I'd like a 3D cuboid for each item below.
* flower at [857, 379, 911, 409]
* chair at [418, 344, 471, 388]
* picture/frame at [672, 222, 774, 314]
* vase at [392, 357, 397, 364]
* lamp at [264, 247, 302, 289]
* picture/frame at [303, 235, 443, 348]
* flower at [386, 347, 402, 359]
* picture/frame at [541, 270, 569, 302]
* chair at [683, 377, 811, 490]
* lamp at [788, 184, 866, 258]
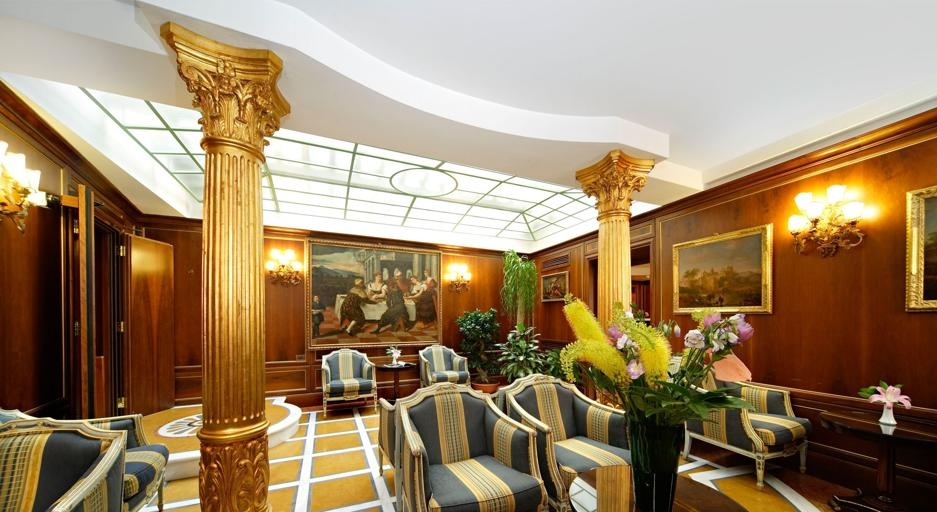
[{"bbox_3d":[5.941,1.935,7.509,0.488,0.165,0.472,-15,-3,17],"label":"flower"},{"bbox_3d":[-0.602,2.665,12.139,1.130,1.074,1.024,2,-3,-42],"label":"chair"},{"bbox_3d":[4.484,0.215,9.144,0.116,1.323,1.691,10,-11,-38],"label":"picture/frame"},{"bbox_3d":[-1.668,2.346,11.896,0.126,0.125,0.127,1,-7,-12],"label":"vase"},{"bbox_3d":[-4.147,0.269,11.648,0.952,0.861,0.279,3,-7,-36],"label":"lamp"},{"bbox_3d":[-2.398,0.868,12.422,2.918,1.972,0.114,3,-9,-25],"label":"picture/frame"},{"bbox_3d":[-1.708,2.240,12.018,0.344,0.321,0.333,1,-3,-12],"label":"flower"},{"bbox_3d":[2.166,0.762,13.144,0.142,0.741,1.203,4,-10,-22],"label":"picture/frame"},{"bbox_3d":[4.568,2.691,8.787,1.294,1.429,1.668,-1,-1,-29],"label":"chair"},{"bbox_3d":[5.610,-0.372,8.318,1.102,1.021,1.121,3,-11,25],"label":"lamp"}]
